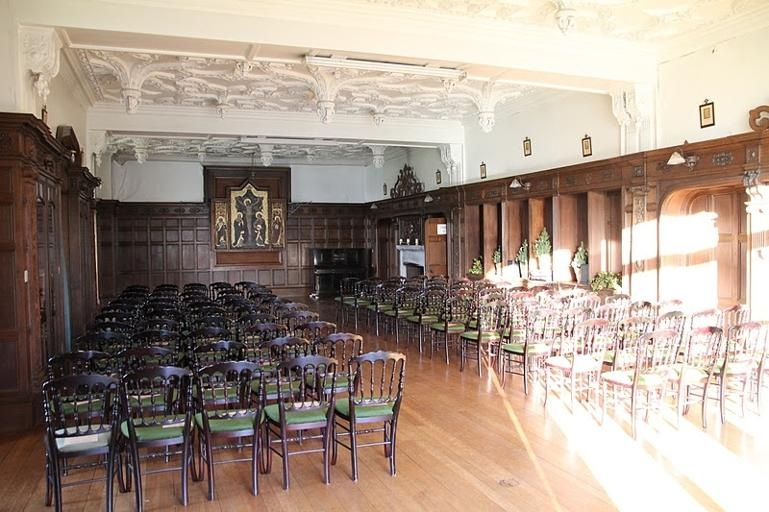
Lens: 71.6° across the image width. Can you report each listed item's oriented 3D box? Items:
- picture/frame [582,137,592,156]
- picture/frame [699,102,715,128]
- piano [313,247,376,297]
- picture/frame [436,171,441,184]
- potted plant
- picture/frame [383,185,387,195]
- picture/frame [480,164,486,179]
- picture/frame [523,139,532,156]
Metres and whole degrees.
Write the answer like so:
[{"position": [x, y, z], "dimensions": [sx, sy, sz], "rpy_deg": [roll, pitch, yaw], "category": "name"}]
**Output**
[{"position": [4.772, -2.575, 12.531], "dimensions": [0.039, 0.458, 0.323], "rpy_deg": [-6, 10, -26], "category": "picture/frame"}, {"position": [6.193, -2.702, 10.197], "dimensions": [0.081, 0.504, 0.350], "rpy_deg": [-4, 9, -19], "category": "picture/frame"}, {"position": [-1.691, 0.631, 20.316], "dimensions": [1.940, 1.691, 0.876], "rpy_deg": [-1, -2, -24], "category": "piano"}, {"position": [1.778, -2.615, 17.689], "dimensions": [0.063, 0.485, 0.449], "rpy_deg": [1, -1, -16], "category": "picture/frame"}, {"position": [4.160, 0.042, 13.604], "dimensions": [3.740, 1.410, 1.118], "rpy_deg": [-2, 4, -16], "category": "potted plant"}, {"position": [0.048, -2.660, 21.230], "dimensions": [0.087, 0.416, 0.298], "rpy_deg": [-6, 10, -29], "category": "picture/frame"}, {"position": [2.943, -2.516, 15.814], "dimensions": [0.052, 0.444, 0.269], "rpy_deg": [-6, 10, -26], "category": "picture/frame"}, {"position": [3.836, -2.911, 14.268], "dimensions": [0.062, 0.477, 0.340], "rpy_deg": [-5, 9, -21], "category": "picture/frame"}]
